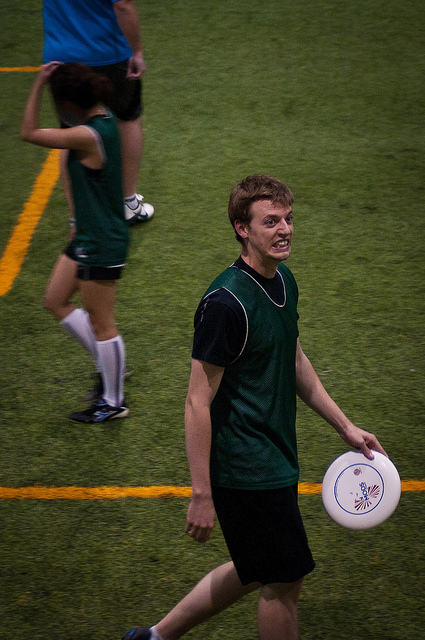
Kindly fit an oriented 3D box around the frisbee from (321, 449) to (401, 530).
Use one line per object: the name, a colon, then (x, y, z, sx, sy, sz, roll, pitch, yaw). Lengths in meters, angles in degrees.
frisbee: (0.464, 0.522, 2.206, 0.222, 0.169, 0.221, 9, 55, 6)
